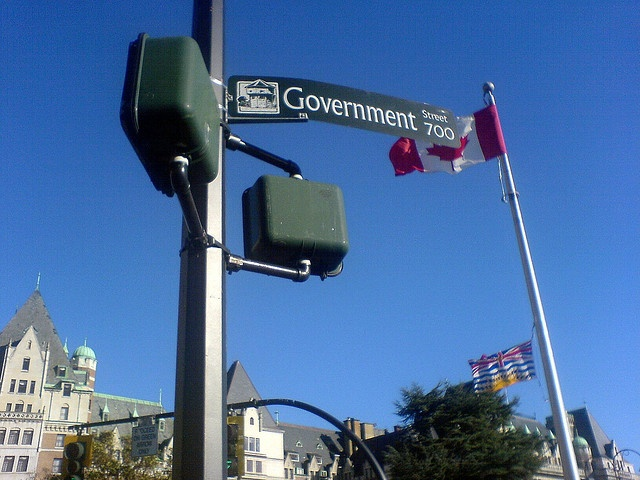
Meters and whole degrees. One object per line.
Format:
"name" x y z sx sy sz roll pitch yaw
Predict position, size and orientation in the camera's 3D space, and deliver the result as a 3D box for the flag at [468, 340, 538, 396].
"flag" 9.735 6.813 31.943 1.011 2.235 4.989 6 -25 -20
